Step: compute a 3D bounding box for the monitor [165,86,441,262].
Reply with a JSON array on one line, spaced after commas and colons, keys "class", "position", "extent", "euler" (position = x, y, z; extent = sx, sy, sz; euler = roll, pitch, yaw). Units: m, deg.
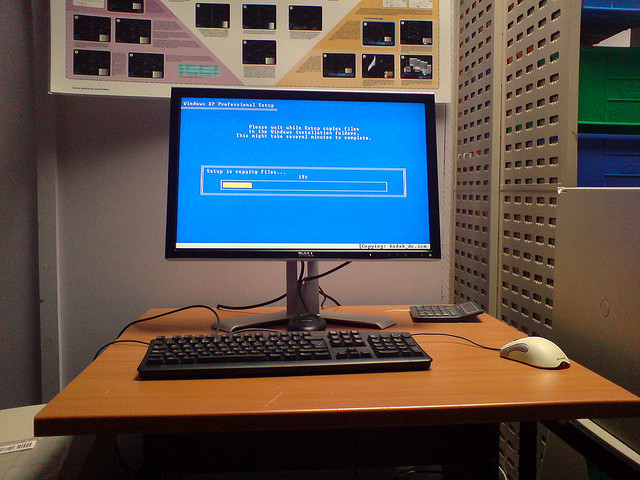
[{"class": "monitor", "position": [-0.047, -0.183, 1.538], "extent": [0.748, 0.478, 0.103], "euler": [-1, 8, -2]}]

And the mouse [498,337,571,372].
[{"class": "mouse", "position": [0.520, 0.261, 1.328], "extent": [0.074, 0.040, 0.119], "euler": [5, 2, -42]}]
